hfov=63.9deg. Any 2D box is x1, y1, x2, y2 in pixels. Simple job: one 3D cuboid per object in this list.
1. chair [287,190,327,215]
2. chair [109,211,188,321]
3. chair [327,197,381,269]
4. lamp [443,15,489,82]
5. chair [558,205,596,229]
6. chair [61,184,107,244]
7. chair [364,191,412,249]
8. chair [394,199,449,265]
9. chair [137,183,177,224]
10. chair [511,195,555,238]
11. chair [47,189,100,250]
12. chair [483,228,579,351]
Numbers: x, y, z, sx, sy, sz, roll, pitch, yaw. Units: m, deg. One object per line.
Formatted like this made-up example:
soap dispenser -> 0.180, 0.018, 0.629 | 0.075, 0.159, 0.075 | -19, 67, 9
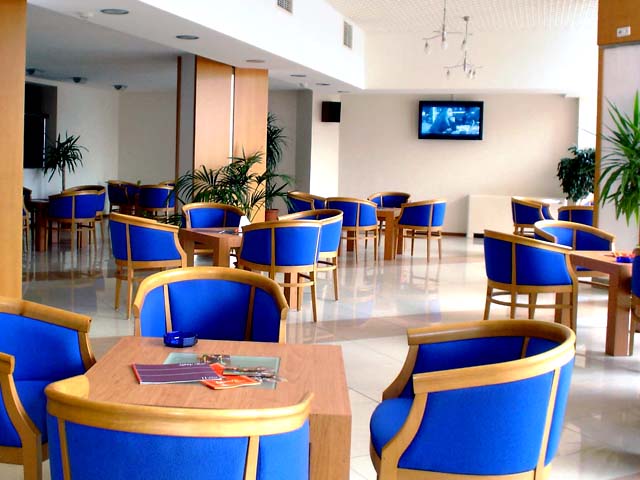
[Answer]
chair -> -0.242, -0.662, 8.919 | 0.494, 0.628, 0.484 | 0, 5, 18
chair -> -1.781, 0.217, 5.482 | 0.742, 1.034, 0.827 | -1, 5, -17
chair -> 0.611, -0.244, 8.769 | 0.763, 1.009, 0.735 | -5, 9, -39
lamp -> 3.027, -4.067, 10.688 | 0.880, 1.242, 0.934 | -5, 17, -10
chair -> 3.748, -0.377, 7.496 | 0.429, 0.335, 0.440 | 0, -1, 4
chair -> -3.989, -0.412, 8.793 | 0.599, 0.785, 0.629 | 7, 11, 43
chair -> 1.457, -0.527, 10.757 | 0.844, 1.073, 0.773 | 1, -2, 15
chair -> 1.824, -0.213, 9.186 | 0.740, 1.106, 0.904 | 5, 8, 30
chair -> -3.159, -0.727, 10.257 | 0.610, 0.720, 0.648 | 0, 6, 5
chair -> 3.735, -0.396, 9.131 | 0.668, 0.710, 0.725 | 5, 11, 29
chair -> -4.136, -0.376, 8.656 | 0.783, 0.943, 0.843 | 4, 4, 1
chair -> 1.967, 0.362, 5.190 | 0.880, 1.328, 1.051 | -4, 5, -20
